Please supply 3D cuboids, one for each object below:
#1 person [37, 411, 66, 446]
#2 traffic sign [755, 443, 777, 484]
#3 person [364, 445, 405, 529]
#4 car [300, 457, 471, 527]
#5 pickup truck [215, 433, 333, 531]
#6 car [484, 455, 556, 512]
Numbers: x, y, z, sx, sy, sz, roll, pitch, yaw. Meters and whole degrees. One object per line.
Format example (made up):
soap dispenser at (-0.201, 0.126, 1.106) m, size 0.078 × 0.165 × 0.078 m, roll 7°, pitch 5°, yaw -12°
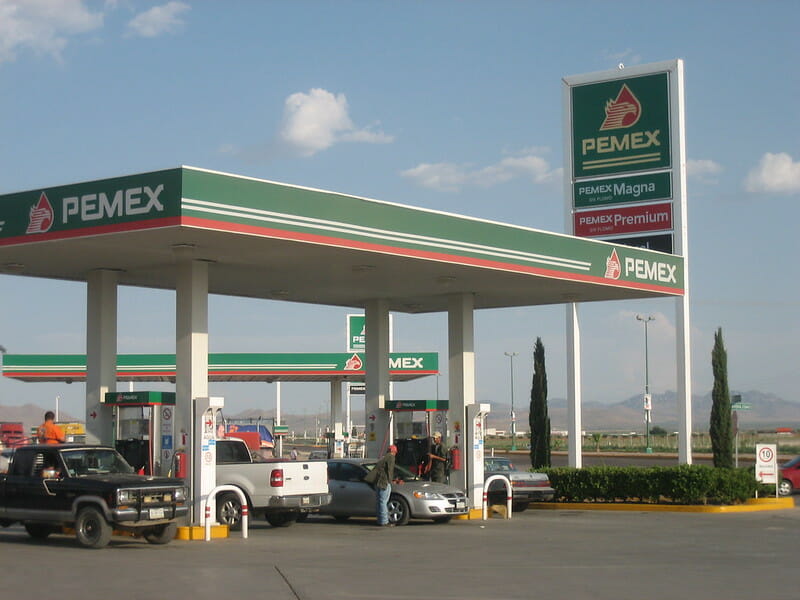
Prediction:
person at (-8.330, 3.036, 25.299) m, size 0.543 × 0.837 × 2.203 m, roll 1°, pitch -10°, yaw -19°
traffic sign at (11.192, 5.053, 32.662) m, size 0.686 × 1.286 × 2.410 m, roll -4°, pitch -9°, yaw 18°
person at (-0.478, 4.576, 26.177) m, size 0.713 × 1.953 × 0.989 m, roll -1°, pitch -8°, yaw -2°
car at (-0.242, 4.898, 27.048) m, size 3.727 × 1.206 × 1.636 m, roll -7°, pitch -9°, yaw 36°
pickup truck at (-3.125, 4.489, 26.194) m, size 2.712 × 2.218 × 3.208 m, roll -1°, pitch -9°, yaw -7°
car at (3.334, 5.346, 30.723) m, size 1.254 × 0.836 × 2.171 m, roll 2°, pitch -4°, yaw -33°
